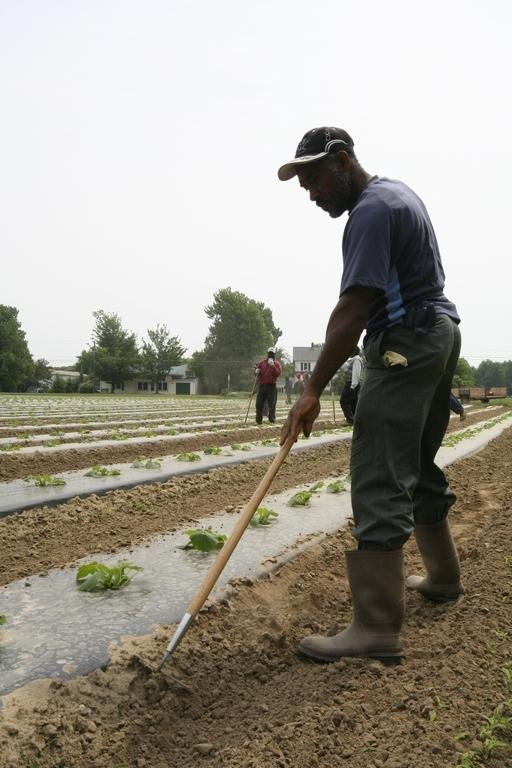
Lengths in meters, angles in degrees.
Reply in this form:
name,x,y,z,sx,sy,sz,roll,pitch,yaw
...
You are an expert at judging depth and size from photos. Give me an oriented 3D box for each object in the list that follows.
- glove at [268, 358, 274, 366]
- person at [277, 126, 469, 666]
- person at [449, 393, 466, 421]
name,x,y,z,sx,sy,sz,roll,pitch,yaw
glove,0.381,-0.554,14.648,0.142,0.047,0.192,2,35,-7
person,0.563,0.030,2.368,0.920,1.801,0.672,1,1,-32
person,6.124,0.704,17.142,0.345,0.294,1.090,-9,-21,32
